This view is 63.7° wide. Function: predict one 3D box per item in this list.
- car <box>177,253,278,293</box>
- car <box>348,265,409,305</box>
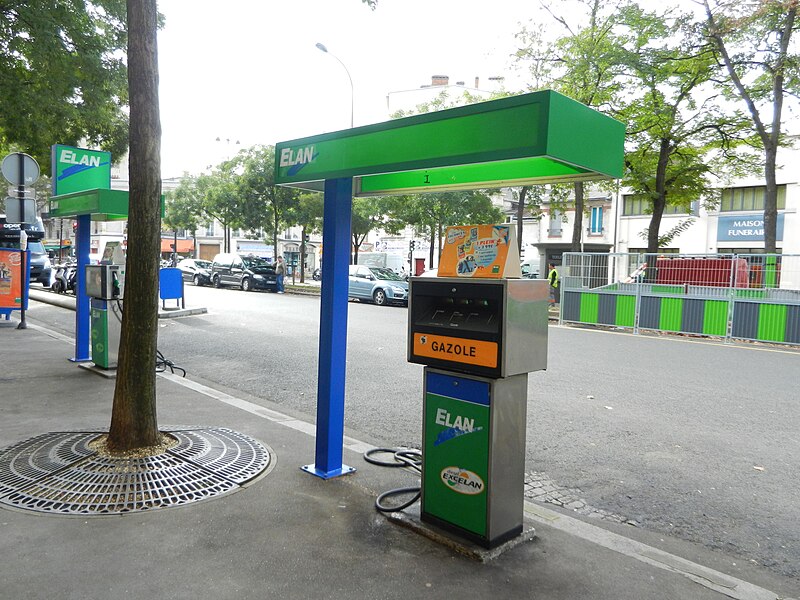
[{"bbox_3d":[-9.484,-1.488,34.577,2.252,2.312,9.635,-1,2,-39],"label":"car"},{"bbox_3d":[-0.707,-0.596,25.479,2.344,1.183,1.286,-2,-1,44],"label":"car"}]
